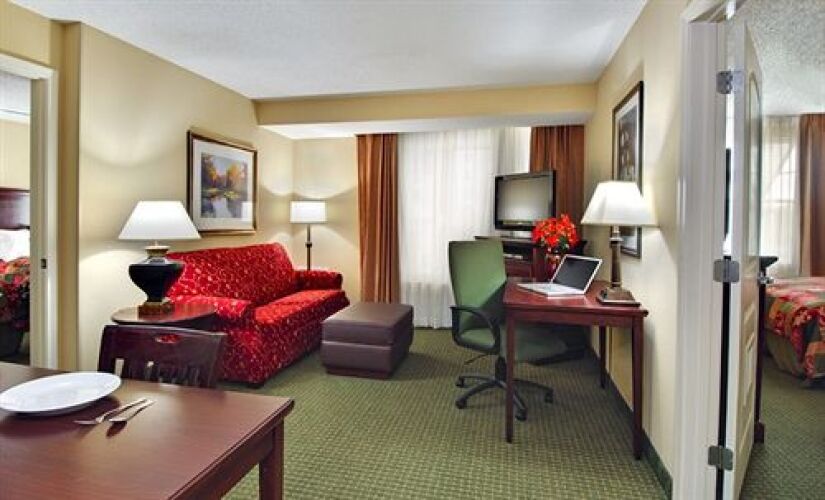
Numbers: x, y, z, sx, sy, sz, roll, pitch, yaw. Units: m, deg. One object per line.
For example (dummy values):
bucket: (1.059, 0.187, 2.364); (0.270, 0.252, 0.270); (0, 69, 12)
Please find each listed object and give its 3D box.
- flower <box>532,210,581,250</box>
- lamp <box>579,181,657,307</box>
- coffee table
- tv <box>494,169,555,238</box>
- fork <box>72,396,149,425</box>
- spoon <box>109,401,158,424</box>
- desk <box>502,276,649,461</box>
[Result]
flower: (1.476, -0.215, 5.860); (0.424, 0.307, 0.432); (-2, 4, -44)
lamp: (1.748, -0.072, 4.781); (0.572, 1.045, 0.484); (-1, 8, 8)
coffee table: (-0.493, 0.964, 6.096); (0.784, 0.635, 0.804); (0, 8, 16)
tv: (1.317, -0.555, 6.520); (0.219, 0.619, 0.840); (-4, 7, -34)
fork: (-1.867, 0.994, 3.427); (0.067, 0.057, 0.390); (15, 20, 31)
spoon: (-1.736, 1.000, 3.430); (0.082, 0.042, 0.252); (6, 12, 12)
desk: (1.425, 1.181, 5.227); (1.173, 1.273, 2.033); (0, 1, 9)
